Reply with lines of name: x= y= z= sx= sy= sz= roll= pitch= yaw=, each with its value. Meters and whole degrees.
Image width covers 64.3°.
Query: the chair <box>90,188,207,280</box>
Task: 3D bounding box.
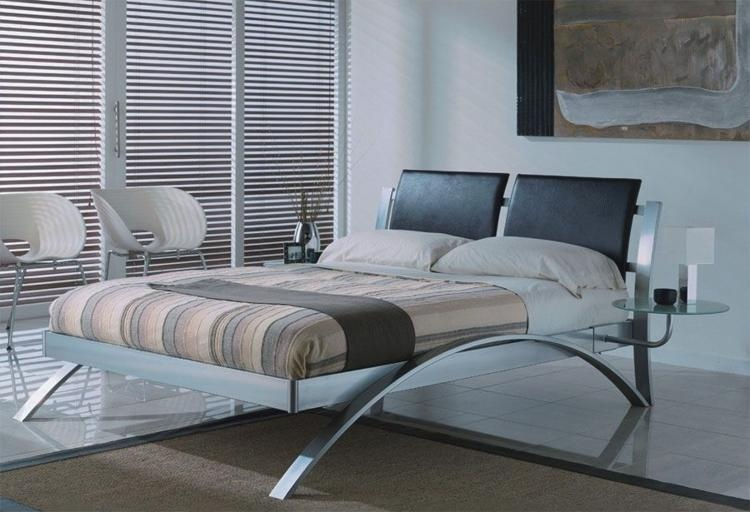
chair: x=-2.203 y=-0.112 z=5.488 sx=0.917 sy=0.874 sz=1.057 roll=5 pitch=-9 yaw=-11

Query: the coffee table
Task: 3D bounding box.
coffee table: x=1.501 y=0.352 z=3.102 sx=0.439 sy=0.135 sz=0.475 roll=-4 pitch=5 yaw=-37

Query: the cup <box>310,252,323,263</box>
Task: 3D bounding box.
cup: x=-0.468 y=0.006 z=4.650 sx=0.116 sy=0.085 sz=0.105 roll=2 pitch=6 yaw=-14

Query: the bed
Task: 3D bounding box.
bed: x=0.109 y=0.178 z=3.086 sx=2.720 sy=0.925 sz=2.052 roll=-2 pitch=4 yaw=-40
